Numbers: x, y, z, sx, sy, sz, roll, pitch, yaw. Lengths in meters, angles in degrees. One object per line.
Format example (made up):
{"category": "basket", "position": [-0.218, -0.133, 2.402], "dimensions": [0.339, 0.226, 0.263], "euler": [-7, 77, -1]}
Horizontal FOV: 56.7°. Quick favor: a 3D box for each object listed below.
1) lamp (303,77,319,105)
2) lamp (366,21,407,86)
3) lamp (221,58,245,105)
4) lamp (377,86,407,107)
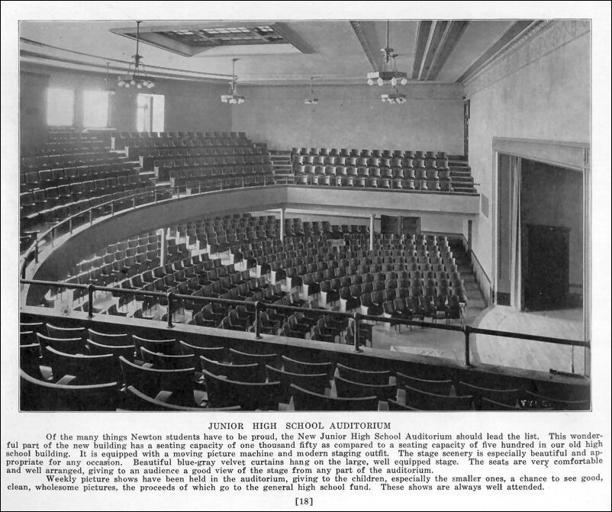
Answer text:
{"category": "lamp", "position": [0.136, -3.777, 13.400], "dimensions": [0.419, 0.804, 0.412], "euler": [-3, 25, -3]}
{"category": "lamp", "position": [1.386, -3.404, 9.396], "dimensions": [0.453, 0.959, 0.480], "euler": [-6, 7, -20]}
{"category": "lamp", "position": [-1.778, -4.078, 13.726], "dimensions": [0.493, 1.049, 0.572], "euler": [1, -5, -6]}
{"category": "lamp", "position": [1.730, -3.219, 11.403], "dimensions": [0.574, 0.433, 0.661], "euler": [3, 7, 16]}
